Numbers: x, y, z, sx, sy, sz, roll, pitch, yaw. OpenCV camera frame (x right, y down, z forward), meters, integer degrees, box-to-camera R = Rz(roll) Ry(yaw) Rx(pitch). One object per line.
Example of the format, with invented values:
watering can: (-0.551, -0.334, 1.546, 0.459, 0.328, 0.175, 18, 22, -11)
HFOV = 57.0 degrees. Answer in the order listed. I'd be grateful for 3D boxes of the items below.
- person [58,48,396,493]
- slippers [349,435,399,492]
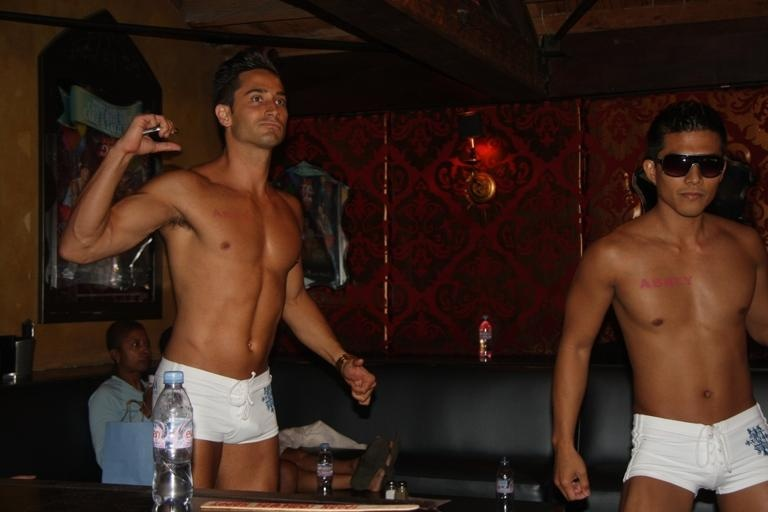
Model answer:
person: (-0.768, 0.027, 3.167, 0.368, 1.995, 1.065, 1, 0, 41)
slippers: (-0.055, 1.370, 4.670, 0.246, 0.401, 0.149, 31, -9, -31)
